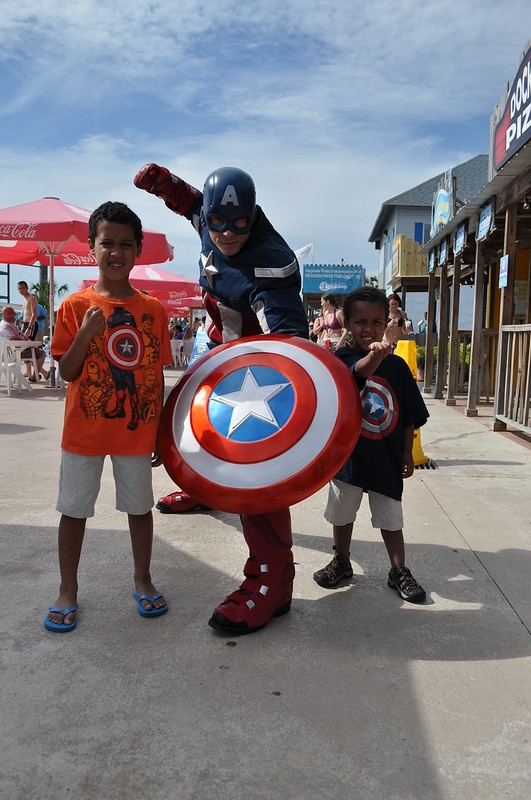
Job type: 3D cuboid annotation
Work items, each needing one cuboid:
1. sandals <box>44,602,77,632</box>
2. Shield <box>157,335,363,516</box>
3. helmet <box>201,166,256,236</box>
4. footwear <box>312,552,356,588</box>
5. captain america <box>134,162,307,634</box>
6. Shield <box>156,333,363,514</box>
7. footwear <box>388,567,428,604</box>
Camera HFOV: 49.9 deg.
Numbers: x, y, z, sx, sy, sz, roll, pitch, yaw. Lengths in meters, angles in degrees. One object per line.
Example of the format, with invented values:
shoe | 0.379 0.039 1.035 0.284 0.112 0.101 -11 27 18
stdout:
sandals | -0.663 0.713 1.849 0.099 0.047 0.115 0 5 -21
Shield | -0.009 0.014 1.751 0.633 0.562 0.418 4 9 10
helmet | -0.119 -0.658 1.891 0.178 0.210 0.152 1 5 -6
footwear | 0.282 0.705 2.363 0.080 0.112 0.197 6 -6 36
captain america | -0.112 0.136 2.196 0.680 1.883 0.649 0 11 -19
Shield | 0.000 0.028 1.769 0.621 0.565 0.406 3 9 10
footwear | 0.539 0.711 2.177 0.064 0.073 0.163 2 -1 -21
